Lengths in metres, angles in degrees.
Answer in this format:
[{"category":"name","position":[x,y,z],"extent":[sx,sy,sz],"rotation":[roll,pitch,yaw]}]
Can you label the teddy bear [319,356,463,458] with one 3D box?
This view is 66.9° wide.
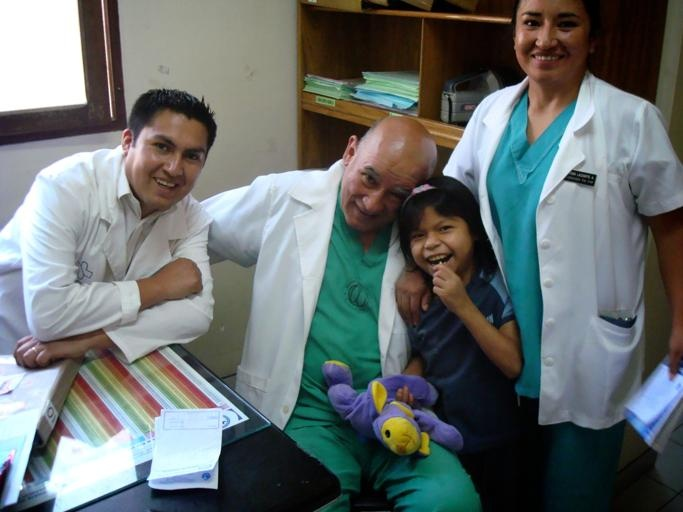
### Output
[{"category":"teddy bear","position":[0.163,0.457,1.573],"extent":[0.368,0.201,0.492],"rotation":[0,11,-7]}]
